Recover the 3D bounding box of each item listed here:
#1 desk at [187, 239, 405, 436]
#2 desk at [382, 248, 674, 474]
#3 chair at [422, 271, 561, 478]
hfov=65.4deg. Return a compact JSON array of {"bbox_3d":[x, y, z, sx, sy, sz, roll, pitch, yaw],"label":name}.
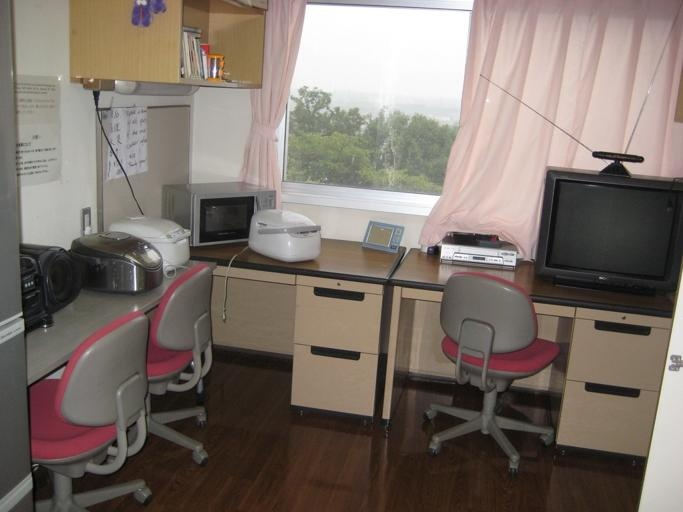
[{"bbox_3d":[-0.079,0.372,3.506,1.288,1.085,0.777,9,17,17],"label":"desk"},{"bbox_3d":[1.448,0.554,4.078,2.225,1.631,1.055,8,13,15],"label":"desk"},{"bbox_3d":[0.844,0.570,2.906,0.697,1.020,0.484,6,18,11],"label":"chair"}]
